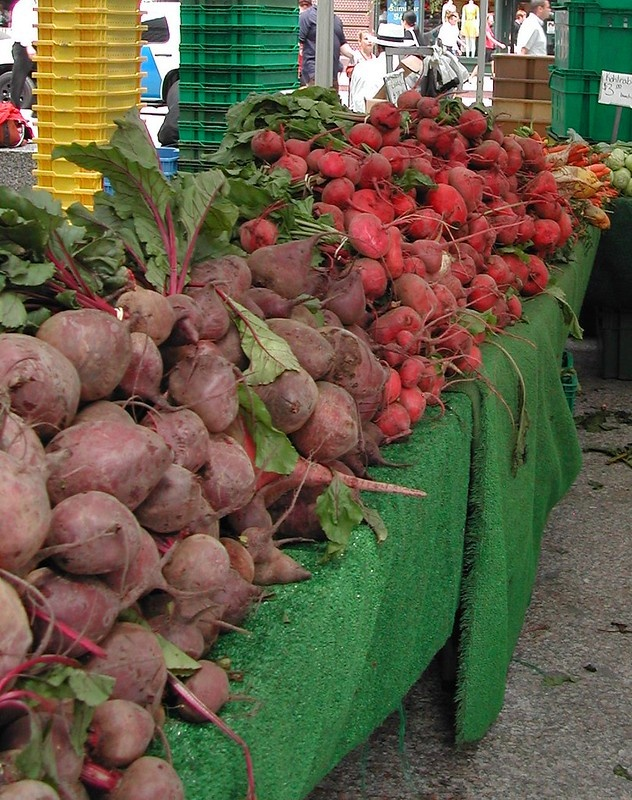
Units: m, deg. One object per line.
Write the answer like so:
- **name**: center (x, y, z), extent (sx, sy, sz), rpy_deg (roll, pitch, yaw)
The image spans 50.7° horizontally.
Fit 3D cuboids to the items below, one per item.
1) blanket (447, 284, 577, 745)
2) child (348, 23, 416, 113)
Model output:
- **blanket**: center (0.645, 0.398, 2.231), extent (0.185, 0.893, 1.433), rpy_deg (2, 44, 20)
- **child**: center (0.775, -4.536, 9.156), extent (0.535, 0.714, 0.497), rpy_deg (24, 38, 39)
